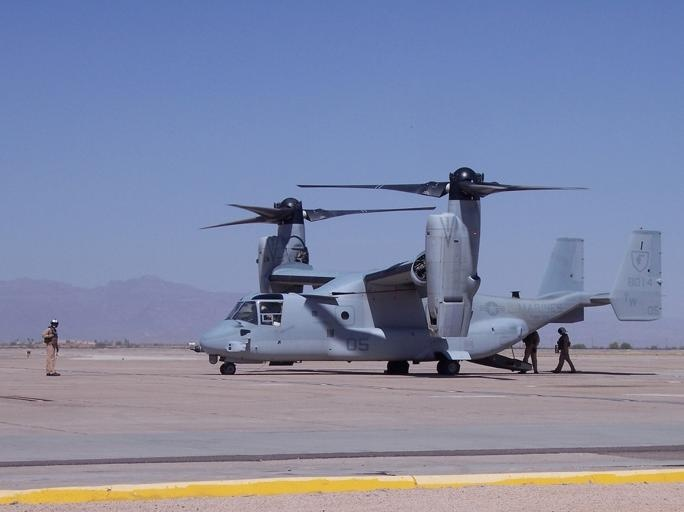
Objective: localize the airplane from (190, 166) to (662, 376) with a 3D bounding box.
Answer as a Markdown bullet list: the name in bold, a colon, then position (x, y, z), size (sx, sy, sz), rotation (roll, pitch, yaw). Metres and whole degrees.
- **airplane**: position (3.102, 1.559, 34.839), size (11.050, 3.367, 10.078), rotation (2, -4, -18)
